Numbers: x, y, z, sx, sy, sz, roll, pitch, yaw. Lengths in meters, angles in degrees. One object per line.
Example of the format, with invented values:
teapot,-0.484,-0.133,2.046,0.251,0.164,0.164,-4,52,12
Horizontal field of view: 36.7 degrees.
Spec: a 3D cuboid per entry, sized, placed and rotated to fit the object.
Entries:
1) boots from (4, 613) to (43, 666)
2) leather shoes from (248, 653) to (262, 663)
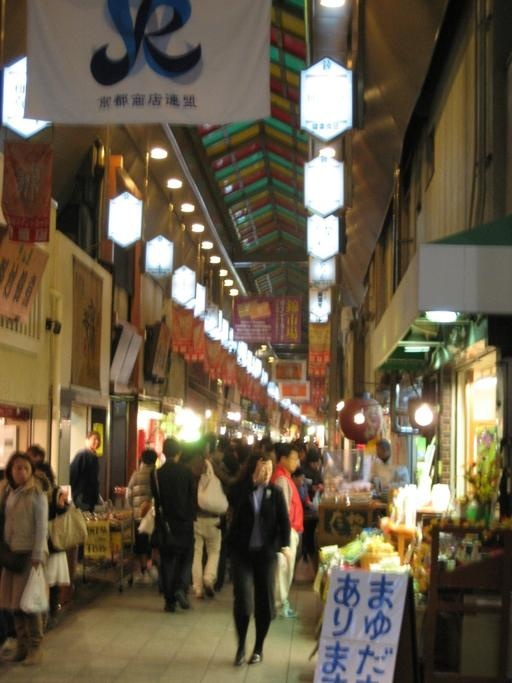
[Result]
boots,-1.520,1.951,5.109,0.273,0.314,0.144,-7,-12,43
leather shoes,0.004,2.116,5.156,0.057,0.062,0.134,-6,-14,43
